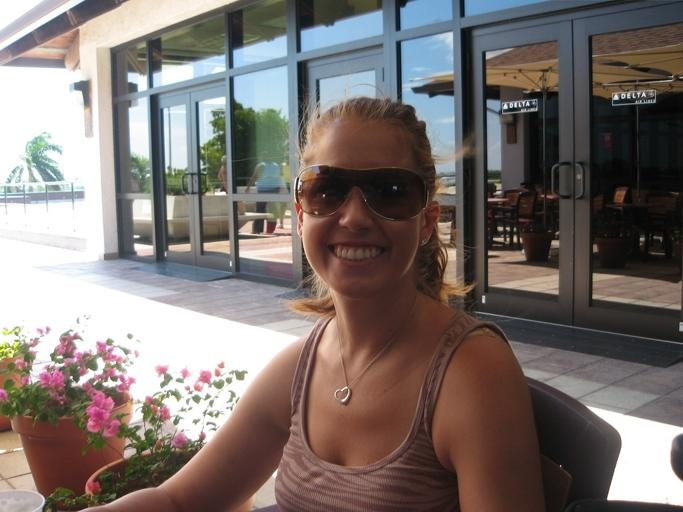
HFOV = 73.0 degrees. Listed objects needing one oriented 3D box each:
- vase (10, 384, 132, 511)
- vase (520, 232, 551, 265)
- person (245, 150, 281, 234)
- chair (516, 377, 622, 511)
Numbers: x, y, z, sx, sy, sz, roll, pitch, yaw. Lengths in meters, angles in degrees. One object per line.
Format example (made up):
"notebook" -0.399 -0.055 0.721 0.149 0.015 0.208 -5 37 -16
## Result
"vase" -1.299 0.919 2.378 0.544 0.441 0.557 1 -1 -4
"vase" 2.403 -0.111 5.645 0.332 0.312 0.340 3 -9 -1
"person" -1.351 -1.202 8.028 0.521 1.681 0.511 -12 34 -32
"chair" 0.398 0.346 0.868 0.168 0.215 0.187 12 -9 -15
